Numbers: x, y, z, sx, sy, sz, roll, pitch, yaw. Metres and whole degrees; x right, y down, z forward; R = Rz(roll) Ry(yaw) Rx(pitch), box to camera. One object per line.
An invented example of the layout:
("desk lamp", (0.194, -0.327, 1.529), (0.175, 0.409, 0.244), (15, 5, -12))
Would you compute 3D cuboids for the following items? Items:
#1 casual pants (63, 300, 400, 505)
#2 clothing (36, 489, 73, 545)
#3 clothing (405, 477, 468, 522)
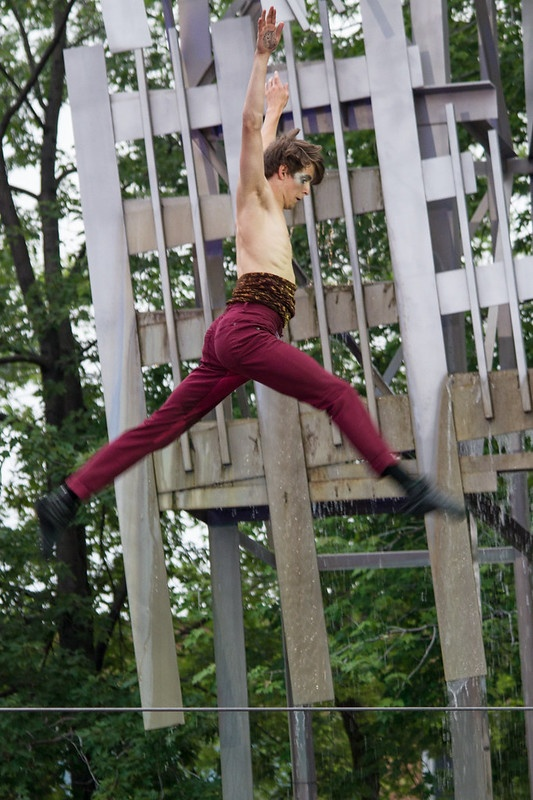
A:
("casual pants", (-0.217, -0.018, 9.932), (1.934, 1.304, 0.574), (-4, 20, 7))
("clothing", (-1.192, 0.639, 10.133), (0.125, 0.474, 0.176), (24, 34, 30))
("clothing", (0.913, 0.498, 9.714), (0.228, 0.271, 0.061), (29, 28, 0))
